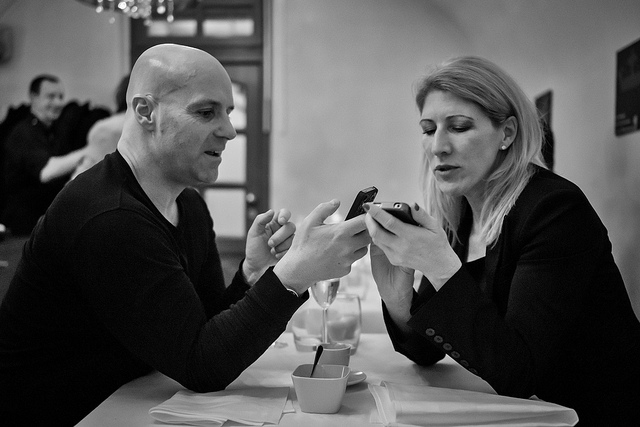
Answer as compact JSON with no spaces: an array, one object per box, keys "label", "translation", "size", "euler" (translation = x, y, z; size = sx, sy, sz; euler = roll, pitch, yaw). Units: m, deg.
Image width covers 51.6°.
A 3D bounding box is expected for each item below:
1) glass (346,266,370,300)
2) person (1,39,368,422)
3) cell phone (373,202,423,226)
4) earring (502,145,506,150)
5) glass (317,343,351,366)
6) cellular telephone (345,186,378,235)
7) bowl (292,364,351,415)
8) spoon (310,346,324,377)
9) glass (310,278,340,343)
[{"label":"glass","translation":[0.167,0.281,2.896],"size":[0.103,0.104,0.270],"euler":[-1,14,5]},{"label":"person","translation":[-0.476,-0.063,2.564],"size":[1.241,1.936,0.936],"euler":[0,9,-7]},{"label":"cell phone","translation":[0.213,-0.036,1.744],"size":[0.110,0.071,0.036],"euler":[0,13,7]},{"label":"earring","translation":[0.550,-0.275,1.975],"size":[0.011,0.016,0.008],"euler":[-1,13,5]},{"label":"glass","translation":[0.040,0.402,1.825],"size":[0.087,0.061,0.111],"euler":[-2,14,1]},{"label":"cellular telephone","translation":[0.121,-0.083,1.858],"size":[0.070,0.021,0.132],"euler":[-19,-28,-33]},{"label":"bowl","translation":[0.002,0.469,1.664],"size":[0.132,0.080,0.109],"euler":[0,-3,4]},{"label":"spoon","translation":[-0.007,0.403,1.743],"size":[0.019,0.096,0.008],"euler":[21,-21,-2]},{"label":"glass","translation":[0.022,0.289,2.031],"size":[0.074,0.223,0.057],"euler":[-2,13,-1]}]
